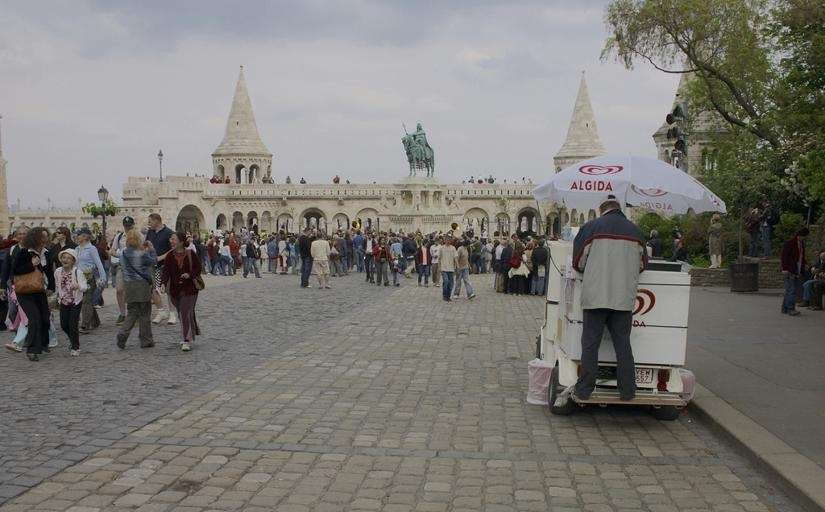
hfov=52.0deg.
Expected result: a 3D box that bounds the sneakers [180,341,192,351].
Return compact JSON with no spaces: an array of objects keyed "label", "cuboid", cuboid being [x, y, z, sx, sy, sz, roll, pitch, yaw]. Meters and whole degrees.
[{"label":"sneakers","cuboid":[-4.430,1.746,16.492,0.195,0.187,0.491,0,-4,-15]}]

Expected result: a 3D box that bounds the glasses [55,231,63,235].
[{"label":"glasses","cuboid":[-7.466,-0.506,17.860,0.117,0.096,0.243,-7,14,-26]}]

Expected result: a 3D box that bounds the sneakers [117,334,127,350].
[{"label":"sneakers","cuboid":[-5.653,1.687,16.447,0.144,0.382,0.165,-3,39,-15]}]

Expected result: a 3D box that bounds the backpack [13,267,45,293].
[{"label":"backpack","cuboid":[-7.217,0.439,15.855,0.548,0.689,0.220,1,1,-26]}]

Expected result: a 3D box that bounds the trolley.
[{"label":"trolley","cuboid":[3.257,1.227,14.039,2.266,2.341,3.977,4,3,1]}]

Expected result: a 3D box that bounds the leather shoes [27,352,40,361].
[{"label":"leather shoes","cuboid":[-7.009,1.859,15.598,0.314,0.118,0.107,-5,-5,43]}]

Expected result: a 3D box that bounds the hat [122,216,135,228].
[{"label":"hat","cuboid":[-6.147,-0.741,18.289,0.248,0.157,0.305,2,2,-10]}]

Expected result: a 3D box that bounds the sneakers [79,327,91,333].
[{"label":"sneakers","cuboid":[-7.064,1.589,18.167,0.191,0.140,0.355,2,-5,-28]}]

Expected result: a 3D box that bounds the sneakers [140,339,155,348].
[{"label":"sneakers","cuboid":[-5.266,1.719,16.753,0.274,0.157,0.245,-4,14,-17]}]

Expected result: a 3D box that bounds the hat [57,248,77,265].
[{"label":"hat","cuboid":[-6.758,-0.036,16.550,0.391,0.184,0.374,6,-16,-26]}]

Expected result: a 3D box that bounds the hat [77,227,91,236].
[{"label":"hat","cuboid":[-7.012,-0.523,17.996,0.379,0.182,0.256,5,6,39]}]

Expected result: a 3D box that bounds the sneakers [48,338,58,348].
[{"label":"sneakers","cuboid":[-7.079,1.702,16.609,0.140,0.141,0.222,2,-9,-30]}]

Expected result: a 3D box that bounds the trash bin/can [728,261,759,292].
[{"label":"trash bin/can","cuboid":[9.508,0.594,24.233,0.888,0.832,0.886,0,1,32]}]
